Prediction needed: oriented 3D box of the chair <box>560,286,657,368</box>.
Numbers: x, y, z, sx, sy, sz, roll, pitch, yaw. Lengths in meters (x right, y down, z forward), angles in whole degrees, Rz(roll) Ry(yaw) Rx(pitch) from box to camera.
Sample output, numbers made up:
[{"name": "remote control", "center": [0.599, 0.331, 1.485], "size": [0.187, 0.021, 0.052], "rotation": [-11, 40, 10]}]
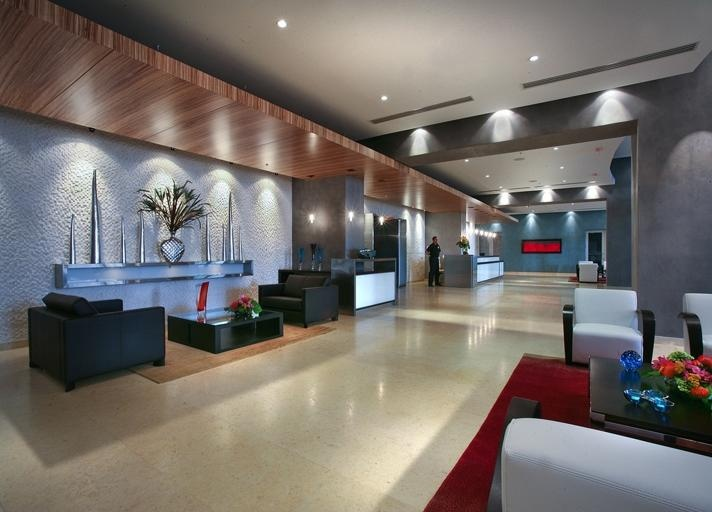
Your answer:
[{"name": "chair", "center": [3.045, 0.843, 5.815], "size": [1.224, 1.223, 0.968], "rotation": [-3, -9, 31]}]

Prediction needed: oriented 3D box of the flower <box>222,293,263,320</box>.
[{"name": "flower", "center": [-1.618, 0.751, 6.705], "size": [0.370, 0.244, 0.402], "rotation": [3, -1, 13]}]

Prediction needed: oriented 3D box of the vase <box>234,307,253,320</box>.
[{"name": "vase", "center": [-1.621, 0.814, 6.622], "size": [0.204, 0.078, 0.197], "rotation": [1, -4, 23]}]

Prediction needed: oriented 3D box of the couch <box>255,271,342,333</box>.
[{"name": "couch", "center": [-1.032, 0.720, 8.074], "size": [1.161, 0.782, 0.777], "rotation": [1, 0, 39]}]

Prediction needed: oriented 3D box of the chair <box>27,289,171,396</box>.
[{"name": "chair", "center": [-3.153, 0.911, 5.641], "size": [1.367, 0.941, 1.253], "rotation": [3, 4, 33]}]

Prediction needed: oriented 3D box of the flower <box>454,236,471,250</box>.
[{"name": "flower", "center": [3.439, -0.401, 14.795], "size": [0.518, 0.503, 0.506], "rotation": [0, 0, 6]}]

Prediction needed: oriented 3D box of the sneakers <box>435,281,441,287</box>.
[{"name": "sneakers", "center": [2.645, 0.905, 14.675], "size": [0.106, 0.127, 0.196], "rotation": [1, 1, 36]}]

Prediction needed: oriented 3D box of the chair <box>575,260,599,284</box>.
[{"name": "chair", "center": [7.784, 0.586, 15.560], "size": [0.649, 0.743, 1.072], "rotation": [1, 0, 26]}]

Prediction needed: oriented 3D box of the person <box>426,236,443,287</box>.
[{"name": "person", "center": [2.435, 0.163, 14.492], "size": [0.367, 1.534, 1.032], "rotation": [0, 1, 10]}]

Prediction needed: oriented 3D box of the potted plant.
[{"name": "potted plant", "center": [-3.079, -0.616, 7.975], "size": [0.445, 1.487, 1.228], "rotation": [1, 2, 26]}]
